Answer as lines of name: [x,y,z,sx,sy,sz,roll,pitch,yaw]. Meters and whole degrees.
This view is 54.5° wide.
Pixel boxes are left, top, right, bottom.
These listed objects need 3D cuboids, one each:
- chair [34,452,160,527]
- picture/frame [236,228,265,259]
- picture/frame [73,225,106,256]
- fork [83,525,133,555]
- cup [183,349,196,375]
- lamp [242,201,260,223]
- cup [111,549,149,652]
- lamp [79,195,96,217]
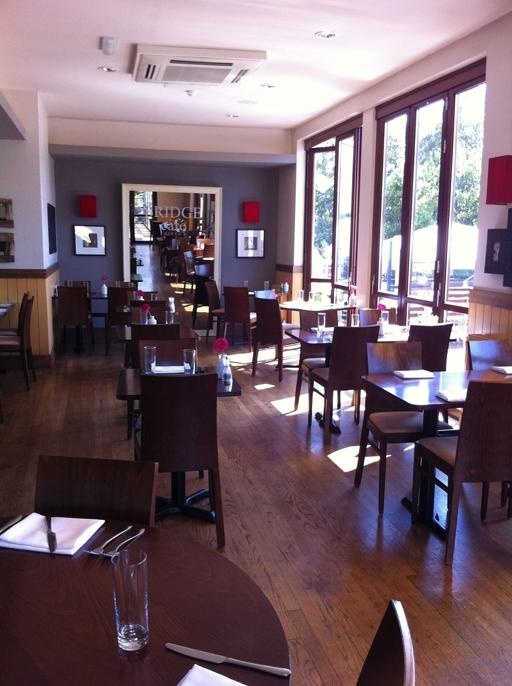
chair: [-0.487,0.512,1.500,0.319,0.203,0.228,9,29,-20]
picture/frame: [-0.147,-2.007,9.964,0.527,0.580,0.056,0,7,-16]
picture/frame: [-3.139,-1.923,9.277,0.506,0.609,0.041,-2,12,-10]
fork: [-0.367,0.465,1.205,0.026,0.021,0.150,-5,2,12]
cup: [-0.410,0.126,3.070,0.072,0.154,0.318,0,8,-7]
lamp: [-0.103,-2.555,9.772,0.354,0.406,0.088,-6,9,-17]
cup: [-0.210,0.434,0.834,0.054,0.143,0.077,-2,8,-18]
lamp: [-3.092,-2.484,9.116,0.315,0.406,0.184,-2,8,-20]
